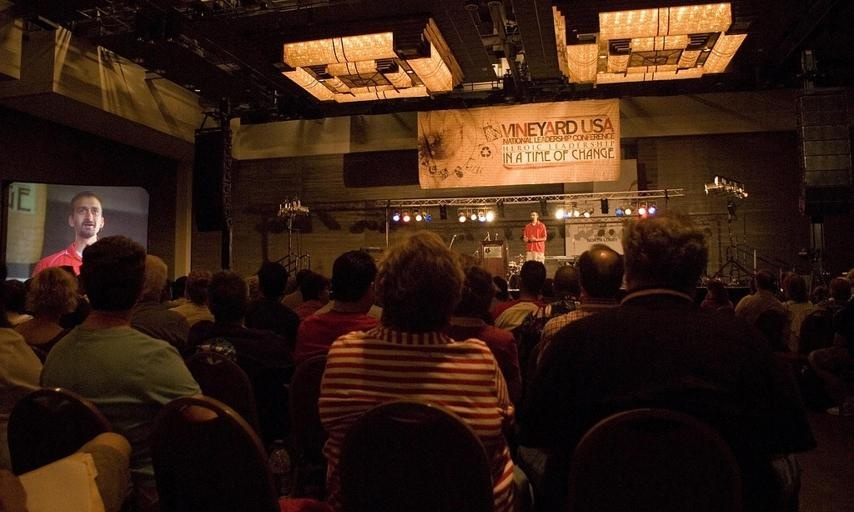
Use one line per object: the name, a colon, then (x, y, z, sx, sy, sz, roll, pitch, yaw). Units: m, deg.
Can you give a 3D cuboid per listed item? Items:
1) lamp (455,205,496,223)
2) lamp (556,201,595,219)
lamp: (1.116, -0.941, 14.745, 0.739, 0.369, 0.271, 0, -2, 11)
lamp: (3.196, -0.973, 14.161, 0.639, 0.359, 0.251, 2, -4, 13)
